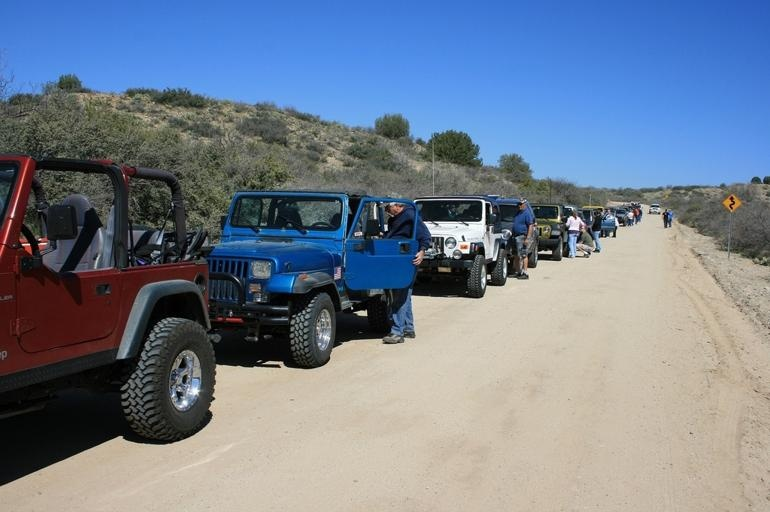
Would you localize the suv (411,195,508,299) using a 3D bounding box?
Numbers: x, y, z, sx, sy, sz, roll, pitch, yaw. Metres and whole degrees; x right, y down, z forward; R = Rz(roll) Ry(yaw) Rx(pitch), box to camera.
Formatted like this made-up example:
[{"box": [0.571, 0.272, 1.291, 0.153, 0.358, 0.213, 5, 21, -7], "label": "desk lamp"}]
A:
[{"box": [2.057, -0.457, 14.304, 1.703, 1.790, 3.141, 0, 0, 19], "label": "suv"}]

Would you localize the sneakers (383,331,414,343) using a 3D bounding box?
[{"box": [0.261, 1.376, 9.220, 0.616, 0.294, 0.199, 6, -7, -38], "label": "sneakers"}]

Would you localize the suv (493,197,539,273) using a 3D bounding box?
[{"box": [4.377, -1.044, 17.828, 1.601, 1.720, 2.945, 0, -1, 15], "label": "suv"}]

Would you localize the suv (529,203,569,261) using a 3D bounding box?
[{"box": [6.828, -1.068, 22.360, 1.705, 1.527, 2.756, 0, -1, 19], "label": "suv"}]

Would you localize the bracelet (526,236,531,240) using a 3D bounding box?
[{"box": [4.371, -0.545, 16.391, 0.131, 0.133, 0.078, 1, 1, -43], "label": "bracelet"}]

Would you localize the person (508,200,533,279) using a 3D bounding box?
[{"box": [4.133, -0.504, 16.241, 0.596, 2.377, 0.625, 3, 9, 16], "label": "person"}]

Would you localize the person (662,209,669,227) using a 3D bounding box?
[{"box": [24.920, -3.233, 47.656, 0.357, 1.405, 1.009, 6, 10, 32], "label": "person"}]

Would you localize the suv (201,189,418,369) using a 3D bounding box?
[{"box": [-1.117, 0.148, 8.302, 2.445, 1.624, 3.046, 1, 0, 22], "label": "suv"}]
